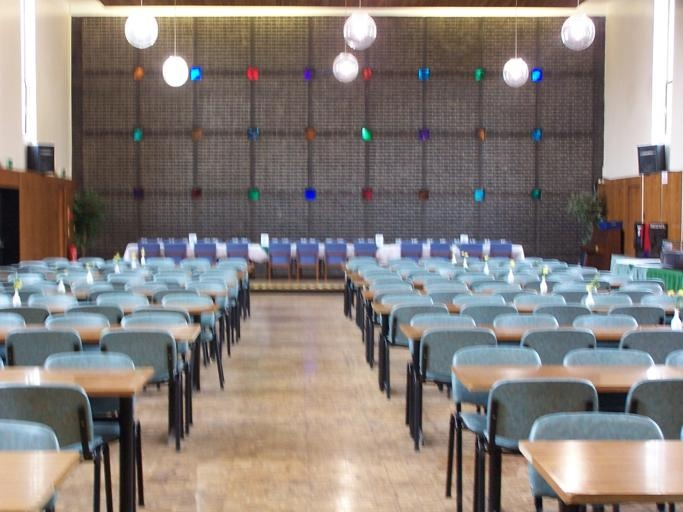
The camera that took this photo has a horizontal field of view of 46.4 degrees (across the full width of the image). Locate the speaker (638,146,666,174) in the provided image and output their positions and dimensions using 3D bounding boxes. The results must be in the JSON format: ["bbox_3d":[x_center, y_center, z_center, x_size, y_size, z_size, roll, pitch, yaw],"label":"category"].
[{"bbox_3d":[6.995,-2.166,18.104,0.627,0.812,0.523,-1,-2,13],"label":"speaker"}]

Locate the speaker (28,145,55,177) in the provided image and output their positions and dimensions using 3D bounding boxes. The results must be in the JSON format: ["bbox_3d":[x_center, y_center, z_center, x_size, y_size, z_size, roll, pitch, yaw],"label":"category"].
[{"bbox_3d":[-6.842,-2.209,18.029,0.463,0.799,0.721,5,4,6],"label":"speaker"}]
